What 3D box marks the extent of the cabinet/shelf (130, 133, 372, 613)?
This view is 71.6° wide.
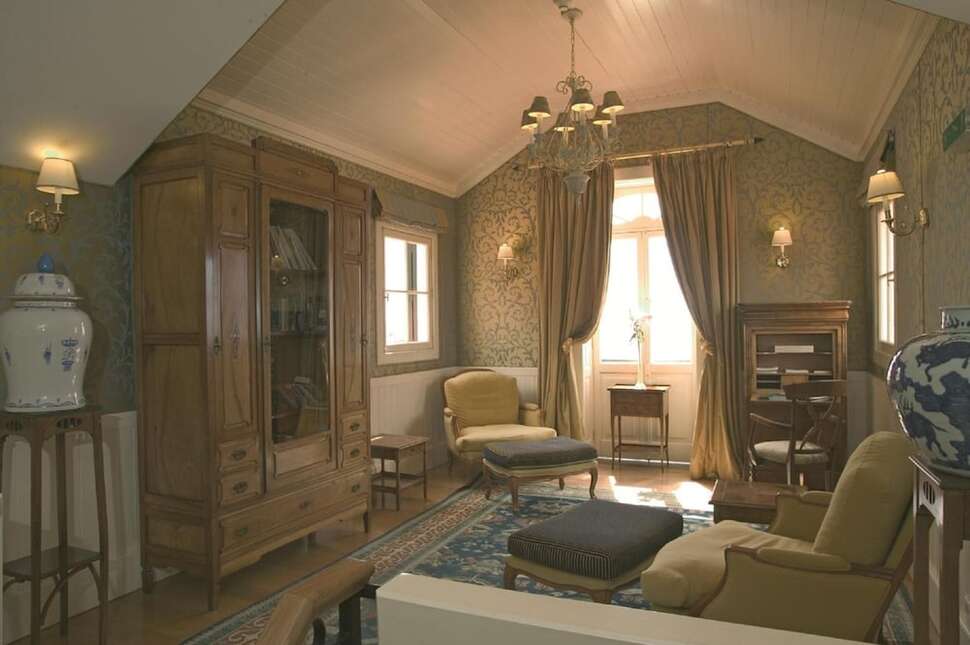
[{"bbox_3d":[-1.642,0.292,4.959,1.571,3.152,0.626,-1,-2,-41],"label":"cabinet/shelf"}]

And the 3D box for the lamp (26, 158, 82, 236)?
[{"bbox_3d":[-2.750,-0.779,4.286,0.293,0.458,0.225,0,0,-23],"label":"lamp"}]

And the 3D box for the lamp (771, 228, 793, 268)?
[{"bbox_3d":[2.999,-0.761,6.752,0.182,0.385,0.280,-4,-2,25],"label":"lamp"}]

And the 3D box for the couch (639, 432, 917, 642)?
[{"bbox_3d":[1.739,1.303,4.206,1.539,1.597,1.163,0,-2,29],"label":"couch"}]

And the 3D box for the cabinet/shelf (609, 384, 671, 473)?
[{"bbox_3d":[1.718,1.135,7.351,0.861,1.130,0.550,-1,-3,24],"label":"cabinet/shelf"}]
